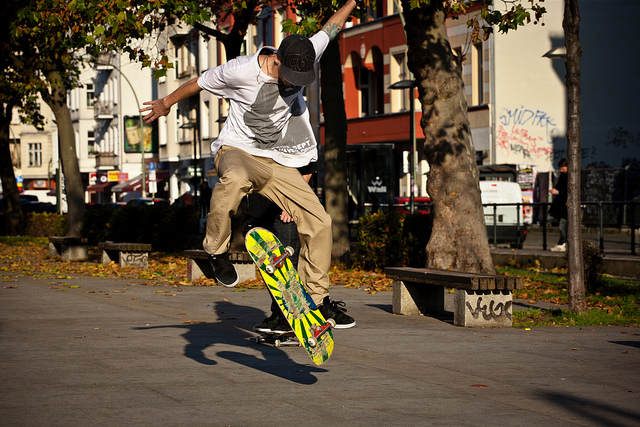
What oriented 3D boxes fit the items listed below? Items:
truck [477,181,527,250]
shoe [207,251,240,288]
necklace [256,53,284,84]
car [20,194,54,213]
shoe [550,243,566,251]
[{"bbox_3d":[5.198,-0.037,28.880,1.636,1.583,2.808,-1,7,0],"label":"truck"},{"bbox_3d":[-1.397,0.829,15.115,0.259,0.725,0.286,-29,-7,-4],"label":"shoe"},{"bbox_3d":[-0.762,-2.128,15.426,0.390,0.417,0.121,0,10,-4],"label":"necklace"},{"bbox_3d":[-16.222,-0.532,58.992,1.760,0.949,1.053,-3,0,28],"label":"car"},{"bbox_3d":[5.993,0.837,26.131,0.355,0.258,0.674,4,11,15],"label":"shoe"}]
